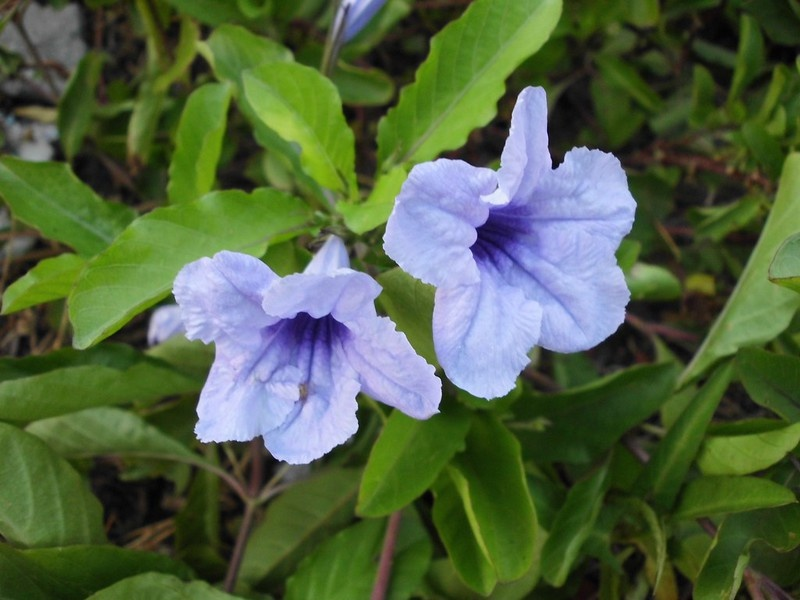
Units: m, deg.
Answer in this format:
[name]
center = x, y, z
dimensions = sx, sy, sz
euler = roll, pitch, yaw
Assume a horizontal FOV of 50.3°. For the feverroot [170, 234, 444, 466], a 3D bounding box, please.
[feverroot]
center = -0.272, 0.151, 2.175
dimensions = 0.556, 0.615, 0.234
euler = 20, 18, 7
